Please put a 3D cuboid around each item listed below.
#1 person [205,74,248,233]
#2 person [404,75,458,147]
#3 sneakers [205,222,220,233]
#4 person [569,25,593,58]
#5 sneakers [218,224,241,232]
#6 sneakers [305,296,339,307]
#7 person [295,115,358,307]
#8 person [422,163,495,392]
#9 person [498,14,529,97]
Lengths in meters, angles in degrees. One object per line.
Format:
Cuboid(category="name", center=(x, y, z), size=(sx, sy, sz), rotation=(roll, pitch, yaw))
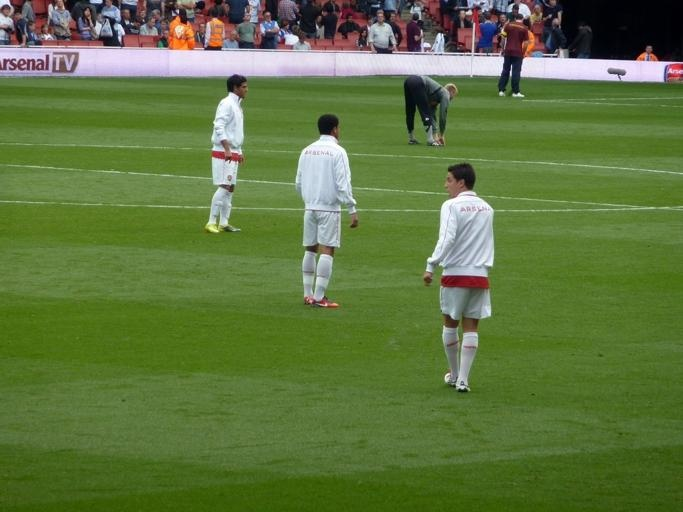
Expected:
Cuboid(category="person", center=(-1.968, -1.727, 28.788), size=(0.587, 2.715, 0.628), rotation=(2, 12, -5))
Cuboid(category="person", center=(1.941, -3.101, 36.349), size=(1.333, 1.443, 1.007), rotation=(1, -1, -32))
Cuboid(category="sneakers", center=(-2.197, -0.449, 28.853), size=(0.131, 0.099, 0.226), rotation=(1, 4, -32))
Cuboid(category="person", center=(7.710, -6.879, 54.356), size=(0.644, 1.182, 1.388), rotation=(4, 12, 5))
Cuboid(category="sneakers", center=(-1.909, -0.464, 29.113), size=(0.345, 0.139, 0.125), rotation=(1, 20, -12))
Cuboid(category="sneakers", center=(-0.283, 0.712, 25.602), size=(0.515, 0.215, 0.183), rotation=(-1, 8, -6))
Cuboid(category="person", center=(-0.244, -0.663, 25.526), size=(0.806, 2.855, 0.878), rotation=(0, 12, -12))
Cuboid(category="person", center=(1.640, 0.321, 23.114), size=(0.837, 3.067, 0.607), rotation=(4, 12, 4))
Cuboid(category="person", center=(4.443, -5.106, 43.374), size=(0.672, 2.133, 0.629), rotation=(7, 1, 17))
